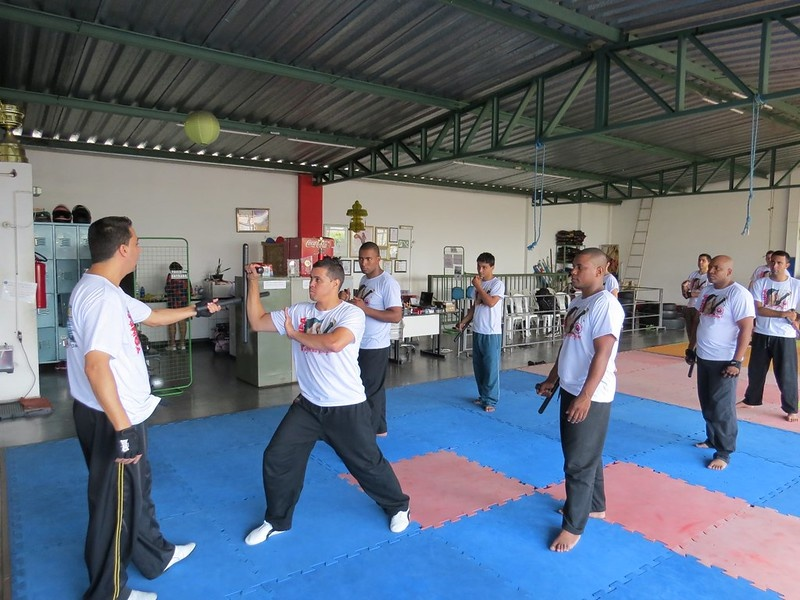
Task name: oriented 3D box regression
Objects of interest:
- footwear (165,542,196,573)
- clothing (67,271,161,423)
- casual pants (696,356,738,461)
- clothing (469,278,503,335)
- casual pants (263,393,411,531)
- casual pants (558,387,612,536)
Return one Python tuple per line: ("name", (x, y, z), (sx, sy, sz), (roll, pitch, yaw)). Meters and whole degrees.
("footwear", (-1.717, 1.997, 4.156), (0.080, 0.097, 0.235), (20, 21, 15))
("clothing", (-2.018, 0.347, 3.636), (0.522, 1.038, 0.422), (6, 12, 25))
("casual pants", (3.499, 1.184, 5.838), (0.327, 1.041, 0.498), (2, 11, 6))
("clothing", (1.202, 0.089, 7.389), (0.425, 0.779, 0.379), (4, 11, 17))
("casual pants", (-0.545, 1.469, 4.669), (1.141, 0.997, 0.646), (5, 10, 17))
("casual pants", (1.496, 1.350, 4.375), (0.369, 1.101, 0.351), (4, 11, 17))
